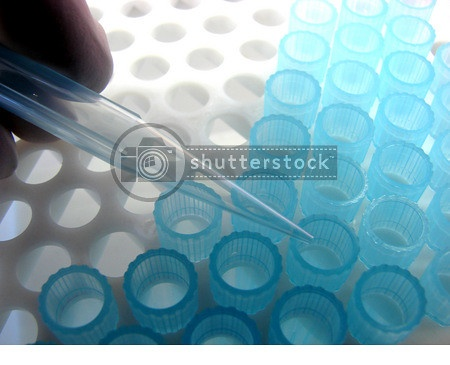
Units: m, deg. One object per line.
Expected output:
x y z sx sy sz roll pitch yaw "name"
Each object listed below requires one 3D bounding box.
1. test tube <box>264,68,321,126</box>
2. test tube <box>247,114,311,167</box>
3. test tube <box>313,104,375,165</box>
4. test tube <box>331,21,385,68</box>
0.174 -0.188 0.899 0.135 0.138 0.142 5 89 46 "test tube"
0.119 -0.082 0.850 0.115 0.109 0.125 10 64 9 "test tube"
0.265 -0.109 0.867 0.124 0.127 0.131 26 66 20 "test tube"
0.323 -0.341 0.930 0.125 0.096 0.136 3 61 6 "test tube"
